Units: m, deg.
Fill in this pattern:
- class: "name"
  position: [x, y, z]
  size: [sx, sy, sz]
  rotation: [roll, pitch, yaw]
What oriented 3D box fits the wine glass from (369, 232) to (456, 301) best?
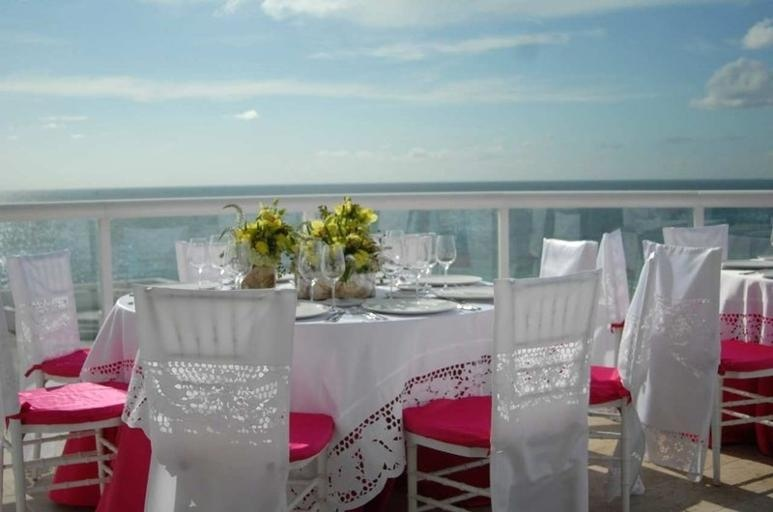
- class: "wine glass"
  position: [0.119, 0.059, 3.117]
  size: [0.282, 0.319, 0.326]
  rotation: [0, -2, 1]
